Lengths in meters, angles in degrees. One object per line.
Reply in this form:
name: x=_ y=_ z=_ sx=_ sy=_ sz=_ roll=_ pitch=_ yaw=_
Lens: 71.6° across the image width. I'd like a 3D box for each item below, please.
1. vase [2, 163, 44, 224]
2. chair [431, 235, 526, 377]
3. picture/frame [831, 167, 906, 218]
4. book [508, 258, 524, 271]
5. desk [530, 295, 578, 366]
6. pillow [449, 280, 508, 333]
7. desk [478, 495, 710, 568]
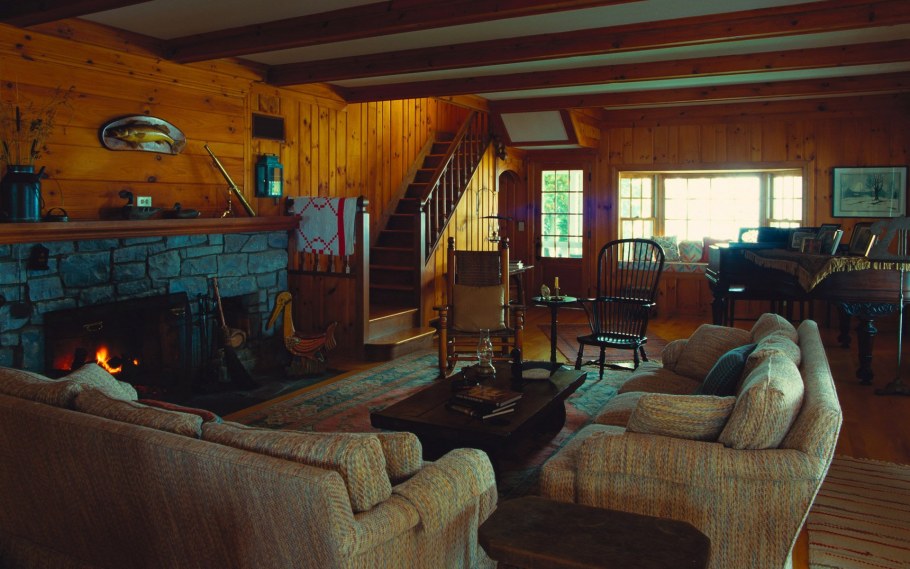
vase: x=-3.689 y=-0.774 z=5.384 sx=0.270 sy=0.489 sz=0.238 roll=-3 pitch=7 yaw=-19
chair: x=0.275 y=0.260 z=7.059 sx=1.162 sy=1.430 sz=1.310 roll=3 pitch=9 yaw=25
picture/frame: x=5.747 y=-1.277 z=8.694 sx=1.140 sy=0.882 sz=0.044 roll=1 pitch=4 yaw=25
book: x=0.894 y=-0.280 z=9.159 sx=0.220 sy=0.077 sz=0.223 roll=-1 pitch=7 yaw=-1
desk: x=1.173 y=0.579 z=7.478 sx=0.560 sy=0.813 sz=0.557 roll=0 pitch=4 yaw=-7
pillow: x=0.274 y=0.250 z=7.120 sx=0.585 sy=0.500 sz=0.370 roll=-1 pitch=6 yaw=3
desk: x=0.754 y=1.365 z=3.452 sx=1.211 sy=0.201 sz=0.432 roll=0 pitch=6 yaw=12
